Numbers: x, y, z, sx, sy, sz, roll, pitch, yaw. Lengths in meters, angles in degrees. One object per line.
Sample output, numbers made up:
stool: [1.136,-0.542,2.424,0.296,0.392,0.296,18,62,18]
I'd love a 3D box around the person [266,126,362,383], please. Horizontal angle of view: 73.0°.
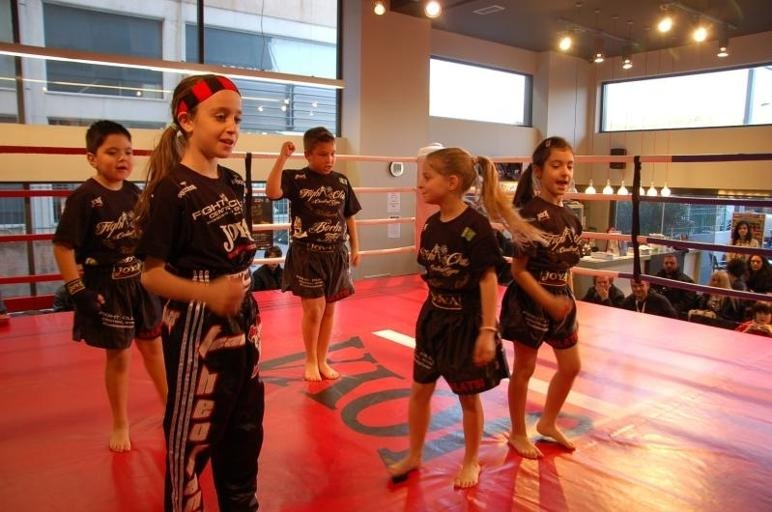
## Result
person: [-0.488,-0.031,3.625,0.464,1.684,0.664,4,10,22]

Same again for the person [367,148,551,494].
person: [0.382,0.288,2.660,0.590,1.652,0.575,3,10,17]

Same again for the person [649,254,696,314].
person: [3.239,0.396,5.989,0.520,0.797,0.429,5,8,31]
